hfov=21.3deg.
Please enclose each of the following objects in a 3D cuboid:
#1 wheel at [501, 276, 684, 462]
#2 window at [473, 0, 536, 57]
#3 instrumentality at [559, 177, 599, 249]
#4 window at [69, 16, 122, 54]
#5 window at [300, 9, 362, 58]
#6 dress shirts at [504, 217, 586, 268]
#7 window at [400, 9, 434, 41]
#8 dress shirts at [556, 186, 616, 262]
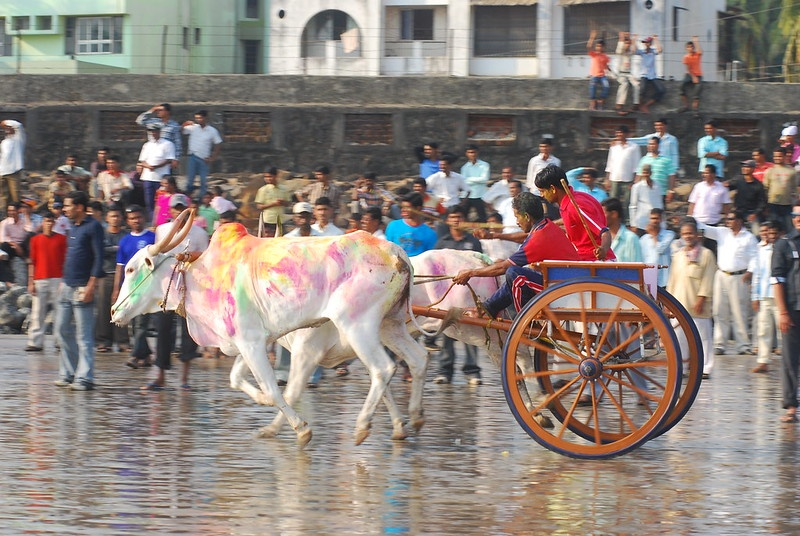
[{"bbox_3d":[2.847,1.514,31.560,3.900,2.705,0.854,1,0,1],"label":"wheel"},{"bbox_3d":[2.708,-5.870,52.166,2.010,1.355,0.930,0,-14,9],"label":"window"},{"bbox_3d":[2.748,-0.724,31.657,0.124,1.407,0.092,-24,-29,1],"label":"instrumentality"},{"bbox_3d":[-7.818,-6.066,55.522,1.794,0.982,0.170,3,6,37],"label":"window"},{"bbox_3d":[-1.587,-5.833,53.157,1.741,1.230,0.131,-4,11,-33],"label":"window"},{"bbox_3d":[2.186,-0.344,31.631,0.978,0.486,0.673,-5,3,25],"label":"dress shirts"},{"bbox_3d":[0.511,-6.012,52.667,1.308,0.970,0.078,-2,-16,-1],"label":"window"},{"bbox_3d":[2.906,-0.528,31.938,0.571,1.028,0.882,-16,-14,-4],"label":"dress shirts"}]
